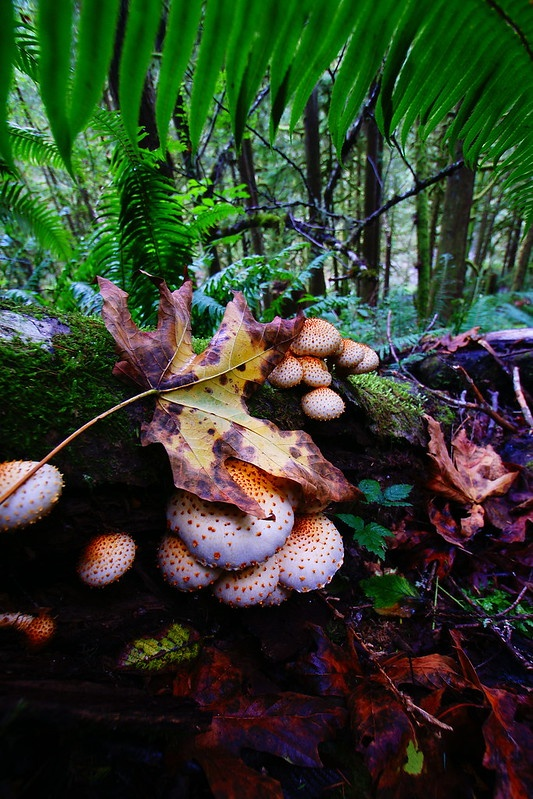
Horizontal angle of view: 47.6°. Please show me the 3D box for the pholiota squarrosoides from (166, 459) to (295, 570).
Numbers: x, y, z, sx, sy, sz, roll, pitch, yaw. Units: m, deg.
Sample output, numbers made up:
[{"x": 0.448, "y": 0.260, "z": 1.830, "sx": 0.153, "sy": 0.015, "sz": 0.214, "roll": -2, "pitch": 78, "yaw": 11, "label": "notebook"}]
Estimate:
[{"x": -0.107, "y": 0.434, "z": 2.046, "sx": 0.416, "sy": 0.127, "sz": 0.387, "roll": -1, "pitch": 55, "yaw": -21, "label": "pholiota squarrosoides"}]

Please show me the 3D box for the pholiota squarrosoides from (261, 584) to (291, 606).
[{"x": 0.039, "y": 0.709, "z": 2.170, "sx": 0.089, "sy": 0.046, "sz": 0.084, "roll": -16, "pitch": 6, "yaw": 21, "label": "pholiota squarrosoides"}]

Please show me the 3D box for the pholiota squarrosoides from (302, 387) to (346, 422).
[{"x": 0.246, "y": 0.036, "z": 2.505, "sx": 0.202, "sy": 0.149, "sz": 0.161, "roll": -4, "pitch": 25, "yaw": -5, "label": "pholiota squarrosoides"}]

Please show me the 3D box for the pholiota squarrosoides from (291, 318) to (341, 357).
[{"x": 0.222, "y": -0.261, "z": 2.651, "sx": 0.201, "sy": 0.157, "sz": 0.206, "roll": 7, "pitch": 26, "yaw": 18, "label": "pholiota squarrosoides"}]

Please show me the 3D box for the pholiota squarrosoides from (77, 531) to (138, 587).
[{"x": -0.531, "y": 0.565, "z": 2.033, "sx": 0.192, "sy": 0.174, "sz": 0.153, "roll": -10, "pitch": 26, "yaw": -18, "label": "pholiota squarrosoides"}]
